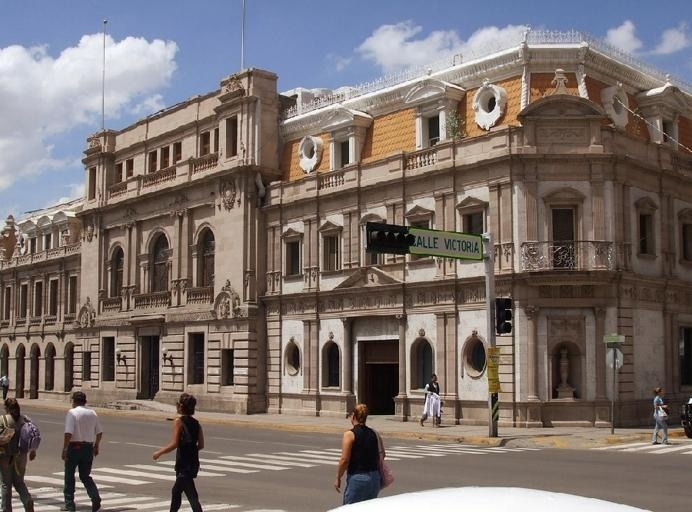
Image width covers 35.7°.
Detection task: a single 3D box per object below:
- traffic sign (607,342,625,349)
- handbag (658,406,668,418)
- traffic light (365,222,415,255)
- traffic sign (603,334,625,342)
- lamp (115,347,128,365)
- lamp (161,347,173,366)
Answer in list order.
[{"bbox_3d":[11.827,3.905,47.198,0.531,0.397,0.177,-2,-18,38],"label":"traffic sign"},{"bbox_3d":[12.646,6.239,43.055,0.346,0.431,0.299,-4,7,29],"label":"handbag"},{"bbox_3d":[1.672,-0.646,40.012,1.918,1.166,0.521,5,-8,-35],"label":"traffic light"},{"bbox_3d":[11.376,3.468,45.354,0.650,0.452,0.311,1,-2,25],"label":"traffic sign"},{"bbox_3d":[-14.081,6.426,67.858,0.941,1.046,0.700,9,-16,-17],"label":"lamp"},{"bbox_3d":[-10.536,5.989,63.832,0.478,1.078,1.025,-9,7,-21],"label":"lamp"}]
